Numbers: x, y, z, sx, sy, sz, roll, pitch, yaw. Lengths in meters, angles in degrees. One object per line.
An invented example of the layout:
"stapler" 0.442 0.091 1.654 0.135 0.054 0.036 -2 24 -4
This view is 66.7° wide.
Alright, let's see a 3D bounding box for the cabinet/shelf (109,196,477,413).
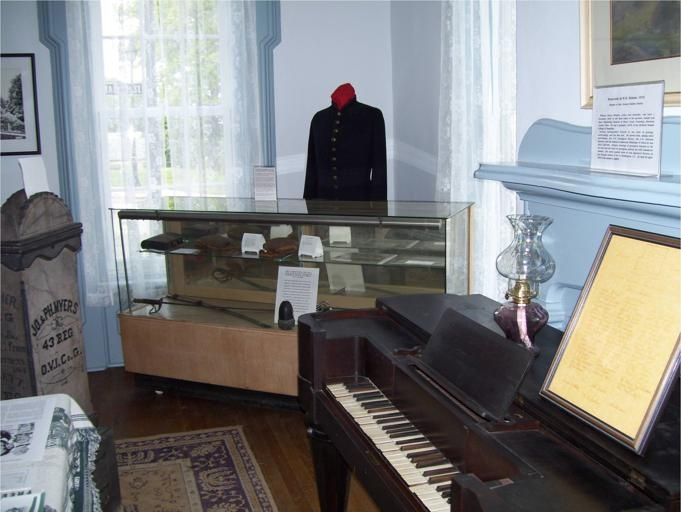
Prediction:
"cabinet/shelf" -0.358 0.217 2.679 1.605 0.927 0.527 2 11 27
